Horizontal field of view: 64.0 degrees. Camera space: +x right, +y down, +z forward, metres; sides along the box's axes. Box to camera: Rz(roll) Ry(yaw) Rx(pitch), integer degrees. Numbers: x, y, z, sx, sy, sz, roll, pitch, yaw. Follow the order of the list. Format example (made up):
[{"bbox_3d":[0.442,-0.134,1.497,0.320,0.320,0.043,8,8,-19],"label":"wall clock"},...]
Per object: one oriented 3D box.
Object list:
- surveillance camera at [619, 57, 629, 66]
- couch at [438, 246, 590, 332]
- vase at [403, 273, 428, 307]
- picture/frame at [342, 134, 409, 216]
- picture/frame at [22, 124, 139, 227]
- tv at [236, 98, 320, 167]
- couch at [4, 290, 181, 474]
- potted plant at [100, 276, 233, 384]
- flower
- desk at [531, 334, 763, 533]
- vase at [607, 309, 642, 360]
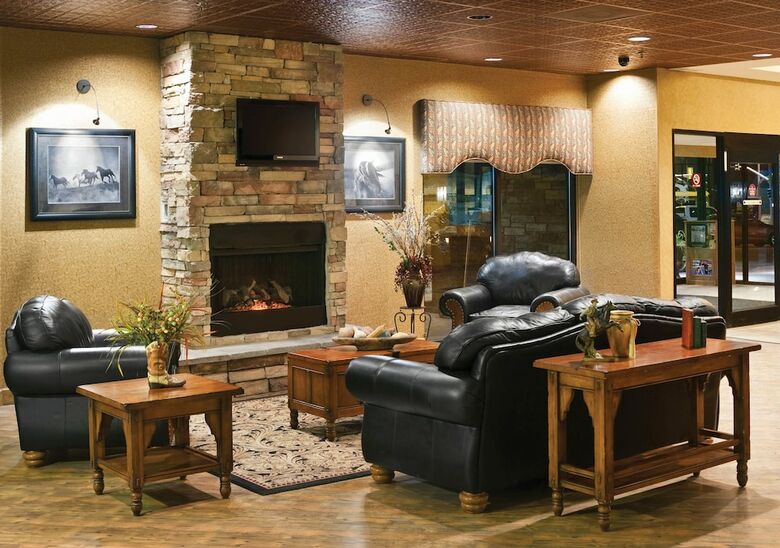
[{"bbox_3d":[2.890,-2.633,7.683,0.147,0.107,0.078,-1,0,-3],"label":"surveillance camera"},{"bbox_3d":[1.362,0.138,6.895,1.643,1.238,0.967,1,3,33],"label":"couch"},{"bbox_3d":[0.261,0.198,7.183,0.417,0.309,0.352,2,-1,-5],"label":"vase"},{"bbox_3d":[-0.214,-1.212,7.539,1.359,1.021,0.085,0,-1,-29],"label":"picture/frame"},{"bbox_3d":[-3.105,-0.993,6.143,1.306,0.981,0.081,-2,7,-28],"label":"picture/frame"},{"bbox_3d":[-1.205,-1.485,6.492,0.975,0.554,0.089,-1,5,-30],"label":"tv"},{"bbox_3d":[-2.099,0.685,4.682,1.331,1.000,1.559,-1,3,-18],"label":"couch"},{"bbox_3d":[-1.674,0.359,4.280,0.985,0.763,0.939,2,4,-4],"label":"potted plant"},{"bbox_3d":[0.238,-0.365,7.753,1.227,1.217,1.330,0,0,40],"label":"flower"},{"bbox_3d":[1.469,0.947,3.659,1.232,0.629,0.437,-4,5,-38],"label":"desk"},{"bbox_3d":[1.320,0.337,3.539,0.140,0.252,0.235,1,4,25],"label":"vase"}]
